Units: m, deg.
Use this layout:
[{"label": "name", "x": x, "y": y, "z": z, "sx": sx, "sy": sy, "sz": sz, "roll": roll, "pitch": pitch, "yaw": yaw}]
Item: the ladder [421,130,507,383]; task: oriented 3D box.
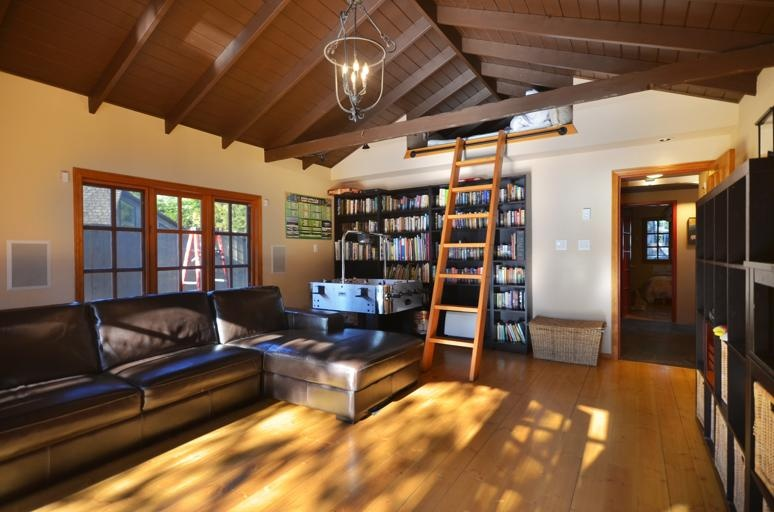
[{"label": "ladder", "x": 1.102, "y": -0.132, "z": 6.829, "sx": 1.096, "sy": 3.076, "sz": 1.822, "roll": -1, "pitch": 1, "yaw": 12}]

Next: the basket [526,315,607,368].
[{"label": "basket", "x": 2.289, "y": 1.075, "z": 6.441, "sx": 0.844, "sy": 0.510, "sz": 0.529, "roll": 2, "pitch": 0, "yaw": 28}]

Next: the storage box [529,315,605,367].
[{"label": "storage box", "x": 2.361, "y": 1.092, "z": 6.578, "sx": 0.836, "sy": 0.512, "sz": 0.530, "roll": 2, "pitch": 1, "yaw": 28}]
